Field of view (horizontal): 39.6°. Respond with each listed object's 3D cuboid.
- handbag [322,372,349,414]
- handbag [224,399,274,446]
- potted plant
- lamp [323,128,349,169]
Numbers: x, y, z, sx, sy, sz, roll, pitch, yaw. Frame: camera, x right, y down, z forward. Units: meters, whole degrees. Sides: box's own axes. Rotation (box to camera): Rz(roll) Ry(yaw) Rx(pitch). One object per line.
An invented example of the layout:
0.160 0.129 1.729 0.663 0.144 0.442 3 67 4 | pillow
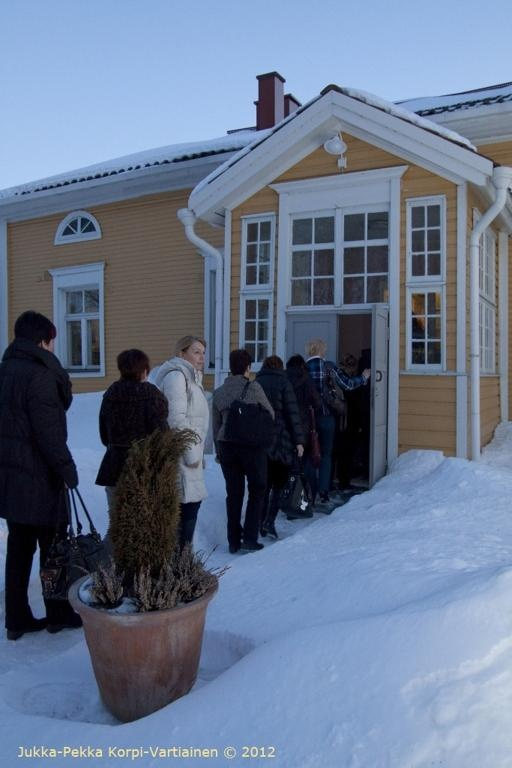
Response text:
0.731 0.077 6.680 0.150 0.370 0.335 -5 -10 18 | handbag
-0.047 0.272 4.983 0.275 0.286 0.114 7 -15 -3 | handbag
-0.422 0.683 2.645 0.516 1.031 0.511 11 15 25 | potted plant
0.799 -2.356 7.025 0.261 0.304 0.267 -5 -43 25 | lamp
